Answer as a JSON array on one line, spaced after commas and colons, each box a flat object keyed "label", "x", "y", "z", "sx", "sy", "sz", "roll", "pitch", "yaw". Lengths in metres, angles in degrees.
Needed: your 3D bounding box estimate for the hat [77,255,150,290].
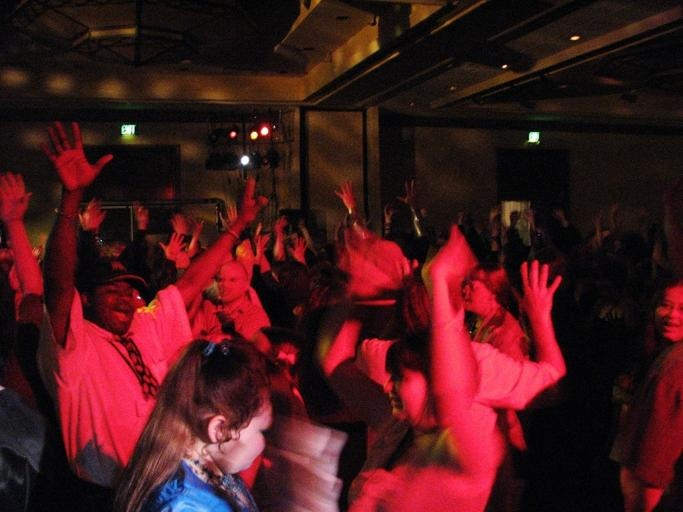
[{"label": "hat", "x": -1.269, "y": 0.077, "z": 3.151, "sx": 0.307, "sy": 0.160, "sz": 0.217, "roll": 14, "pitch": 2, "yaw": 1}]
